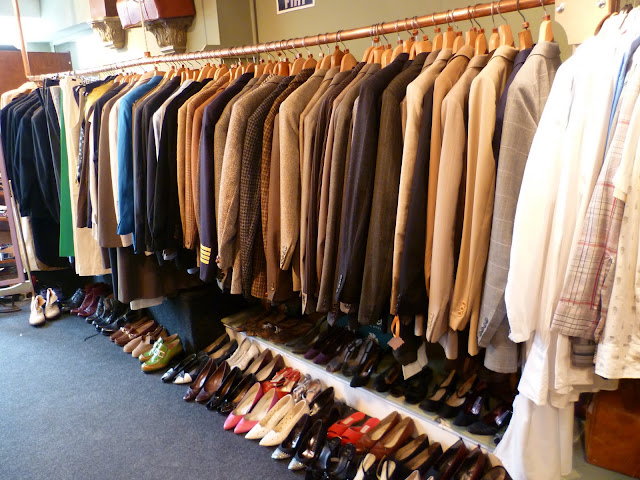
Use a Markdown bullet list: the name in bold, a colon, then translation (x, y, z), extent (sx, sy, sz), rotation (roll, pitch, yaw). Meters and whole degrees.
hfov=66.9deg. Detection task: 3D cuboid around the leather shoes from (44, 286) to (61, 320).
- **leather shoes**: translation (-2.201, 0.532, 3.981), extent (0.087, 0.135, 0.292), rotation (-8, 14, -28)
